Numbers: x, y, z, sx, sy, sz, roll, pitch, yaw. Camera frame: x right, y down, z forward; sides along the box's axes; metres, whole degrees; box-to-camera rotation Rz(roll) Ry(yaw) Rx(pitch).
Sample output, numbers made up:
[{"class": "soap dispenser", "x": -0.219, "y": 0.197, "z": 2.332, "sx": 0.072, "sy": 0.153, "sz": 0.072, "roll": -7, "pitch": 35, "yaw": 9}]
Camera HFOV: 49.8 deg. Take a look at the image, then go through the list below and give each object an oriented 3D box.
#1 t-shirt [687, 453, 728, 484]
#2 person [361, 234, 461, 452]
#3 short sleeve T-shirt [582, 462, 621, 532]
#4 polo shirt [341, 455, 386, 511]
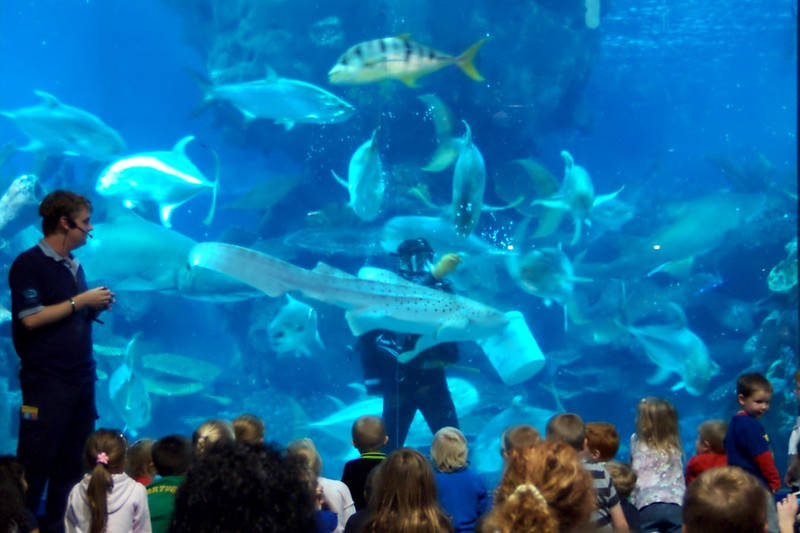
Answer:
[{"class": "t-shirt", "x": 4.415, "y": 2.890, "z": 12.382, "sx": 0.525, "sy": 0.303, "sz": 0.692, "roll": -4, "pitch": -1, "yaw": -2}, {"class": "person", "x": 0.264, "y": 1.617, "z": 14.690, "sx": 1.751, "sy": 4.525, "sz": 1.149, "roll": -4, "pitch": 19, "yaw": 4}, {"class": "short sleeve T-shirt", "x": 2.788, "y": 3.148, "z": 11.895, "sx": 0.301, "sy": 0.860, "sz": 0.639, "roll": -7, "pitch": 1, "yaw": -9}, {"class": "polo shirt", "x": -0.531, "y": 3.079, "z": 12.468, "sx": 0.585, "sy": 0.792, "sz": 0.254, "roll": 5, "pitch": -6, "yaw": 30}]
